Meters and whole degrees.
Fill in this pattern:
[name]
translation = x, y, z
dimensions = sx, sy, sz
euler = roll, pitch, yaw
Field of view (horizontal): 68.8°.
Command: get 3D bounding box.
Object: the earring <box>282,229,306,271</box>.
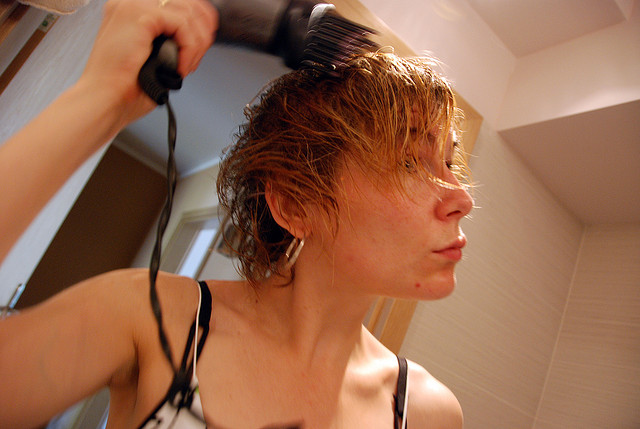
[earring]
translation = -0.049, 0.076, 1.063
dimensions = 0.017, 0.093, 0.046
euler = 22, -3, -40

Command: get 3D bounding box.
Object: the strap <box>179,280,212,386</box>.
[strap]
translation = -0.249, 0.230, 0.948
dimensions = 0.038, 0.024, 0.181
euler = 21, 56, -23
